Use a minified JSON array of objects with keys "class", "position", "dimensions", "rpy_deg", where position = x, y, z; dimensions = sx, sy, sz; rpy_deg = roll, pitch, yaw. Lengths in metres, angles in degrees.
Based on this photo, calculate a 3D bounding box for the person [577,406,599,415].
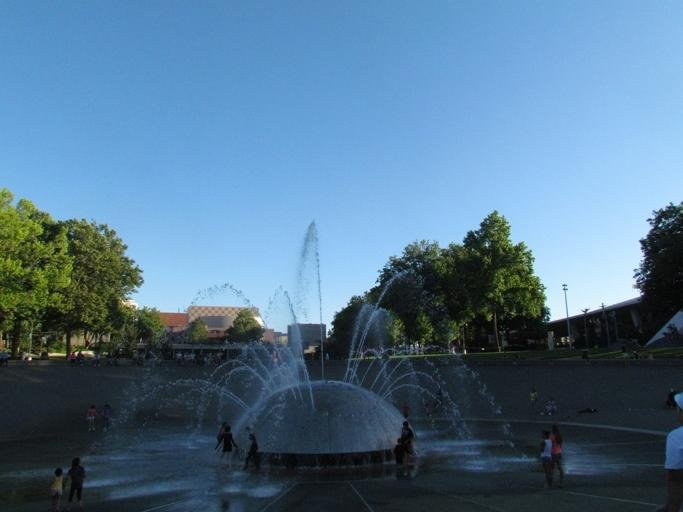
[{"class":"person","position":[15.020,9.398,32.442],"dimensions":[1.149,0.488,0.591],"rpy_deg":[-5,-6,-21]}]

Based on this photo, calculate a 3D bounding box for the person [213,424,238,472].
[{"class":"person","position":[-4.680,7.737,21.882],"dimensions":[0.791,1.699,2.089],"rpy_deg":[1,-19,-12]}]

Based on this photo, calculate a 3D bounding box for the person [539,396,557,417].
[{"class":"person","position":[13.178,9.590,33.907],"dimensions":[0.848,1.248,2.857],"rpy_deg":[-2,-17,14]}]

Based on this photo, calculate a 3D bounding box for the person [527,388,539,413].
[{"class":"person","position":[12.509,9.439,34.837],"dimensions":[0.483,1.591,2.657],"rpy_deg":[-8,-19,17]}]

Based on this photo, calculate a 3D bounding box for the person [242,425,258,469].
[{"class":"person","position":[-3.602,7.509,21.125],"dimensions":[0.507,1.557,1.184],"rpy_deg":[3,-19,-18]}]

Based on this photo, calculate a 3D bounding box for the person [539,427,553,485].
[{"class":"person","position":[6.924,6.710,17.858],"dimensions":[0.423,1.716,1.035],"rpy_deg":[-9,-18,20]}]
